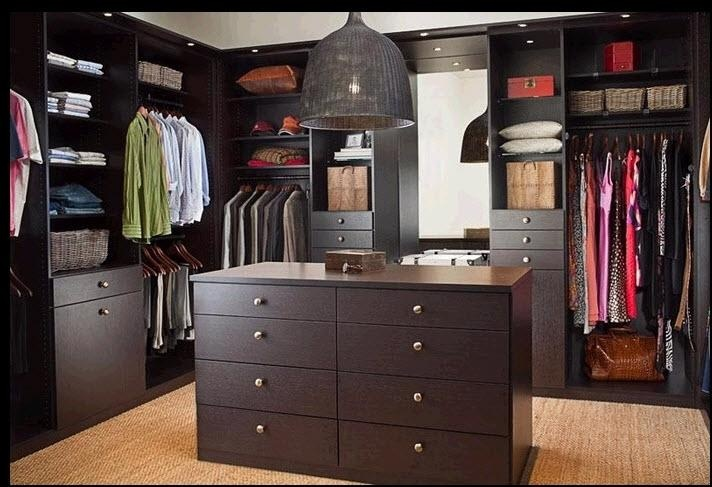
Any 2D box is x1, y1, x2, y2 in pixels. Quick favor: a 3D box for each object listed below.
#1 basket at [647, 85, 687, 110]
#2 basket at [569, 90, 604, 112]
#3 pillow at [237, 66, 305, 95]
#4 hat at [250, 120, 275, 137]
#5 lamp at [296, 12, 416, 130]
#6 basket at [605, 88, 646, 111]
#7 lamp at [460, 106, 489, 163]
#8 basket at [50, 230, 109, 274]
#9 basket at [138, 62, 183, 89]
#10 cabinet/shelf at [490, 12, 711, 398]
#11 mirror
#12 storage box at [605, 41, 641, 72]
[{"bbox_3d":[2.397,-1.132,4.191,0.255,0.170,0.193,1,3,33],"label":"basket"},{"bbox_3d":[1.869,-1.153,4.385,0.207,0.126,0.210,3,6,41],"label":"basket"},{"bbox_3d":[-0.793,-1.531,5.055,0.352,0.137,0.346,-2,8,12],"label":"pillow"},{"bbox_3d":[-0.883,-1.112,5.290,0.161,0.104,0.217,-1,-3,7],"label":"hat"},{"bbox_3d":[-0.002,-0.970,2.975,0.612,0.618,0.502,-1,7,-3],"label":"lamp"},{"bbox_3d":[2.116,-1.141,4.292,0.258,0.155,0.190,1,3,23],"label":"basket"},{"bbox_3d":[1.097,-1.000,5.050,0.214,0.456,0.358,-2,7,-5],"label":"lamp"},{"bbox_3d":[-1.979,0.045,3.907,0.152,0.284,0.572,0,7,8],"label":"basket"},{"bbox_3d":[-1.713,-1.449,4.763,0.230,0.123,0.346,0,2,19],"label":"basket"},{"bbox_3d":[1.928,-0.285,4.380,1.622,2.956,1.156,4,8,34],"label":"cabinet/shelf"},{"bbox_3d":[1.141,-1.047,6.286,0.880,1.855,0.626,-1,7,-3],"label":"mirror"},{"bbox_3d":[2.089,-1.470,4.372,0.277,0.269,0.266,1,6,9],"label":"storage box"}]
